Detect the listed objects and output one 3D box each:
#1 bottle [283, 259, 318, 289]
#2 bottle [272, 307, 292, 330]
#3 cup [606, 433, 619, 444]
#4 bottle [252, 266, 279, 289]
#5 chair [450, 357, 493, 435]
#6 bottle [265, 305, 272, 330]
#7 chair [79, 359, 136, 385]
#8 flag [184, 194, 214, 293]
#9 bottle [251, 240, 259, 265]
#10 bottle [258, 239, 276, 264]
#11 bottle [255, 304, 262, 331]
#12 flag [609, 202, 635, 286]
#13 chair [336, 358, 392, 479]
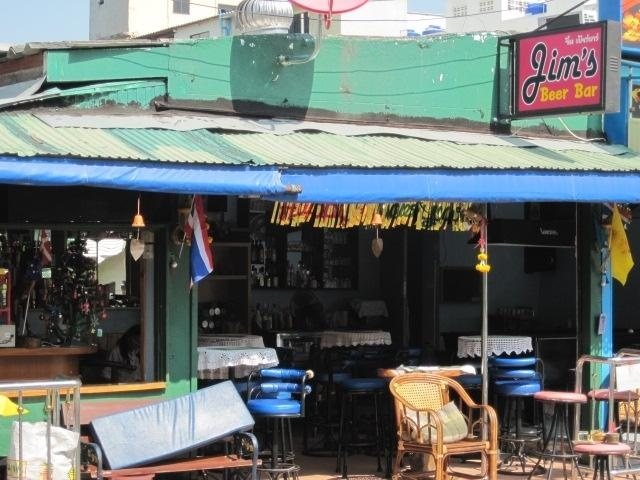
[{"bbox_3d":[-0.286,0.569,19.033,0.590,0.434,0.128,-1,-4,-35],"label":"bottle"},{"bbox_3d":[-0.583,1.229,18.513,0.323,0.375,0.238,-3,-3,-3],"label":"bottle"},{"bbox_3d":[3.172,2.128,12.472,0.143,0.105,0.186,-4,-4,14],"label":"cup"},{"bbox_3d":[-0.869,0.571,18.771,0.441,0.393,0.122,-3,-3,-8],"label":"bottle"},{"bbox_3d":[1.916,1.925,14.465,0.660,0.983,0.686,1,-3,-5],"label":"chair"},{"bbox_3d":[-0.795,1.257,18.428,0.101,0.291,0.132,-4,-3,17],"label":"bottle"},{"bbox_3d":[-2.491,1.527,13.476,0.465,0.189,0.341,0,-2,-12],"label":"chair"},{"bbox_3d":[-1.370,0.001,13.050,0.277,1.031,0.381,-2,-3,-5],"label":"flag"},{"bbox_3d":[-1.018,0.191,18.761,0.186,0.366,0.053,-1,-4,-35],"label":"bottle"},{"bbox_3d":[-0.831,0.178,18.824,0.310,0.387,0.039,-1,-3,-24],"label":"bottle"},{"bbox_3d":[-0.963,1.206,18.399,0.114,0.372,0.194,-3,-3,1],"label":"bottle"},{"bbox_3d":[3.929,0.045,14.981,0.253,1.025,0.448,-5,-4,35],"label":"flag"},{"bbox_3d":[0.564,2.271,14.714,0.923,1.620,0.934,1,-4,-3],"label":"chair"}]
